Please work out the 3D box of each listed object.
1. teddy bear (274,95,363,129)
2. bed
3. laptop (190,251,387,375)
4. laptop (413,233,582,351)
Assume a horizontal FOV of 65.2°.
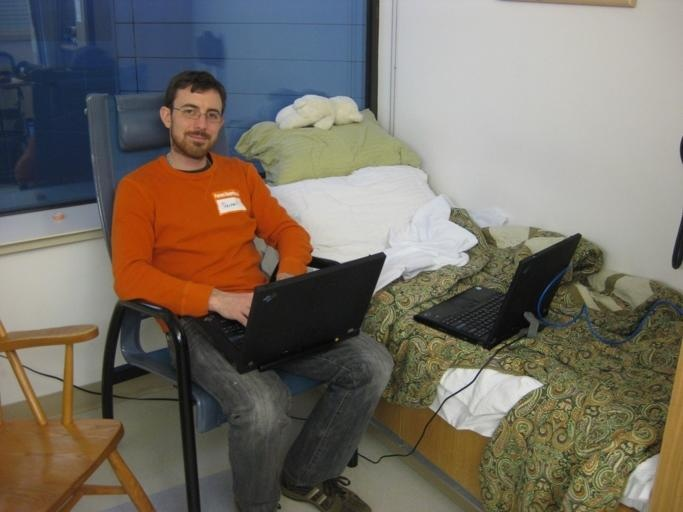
[{"bbox_3d":[-0.109,-0.777,2.903,0.319,0.125,0.249,-4,19,-10],"label":"teddy bear"},{"bbox_3d":[0.482,0.471,2.478,1.054,1.005,1.560,-27,44,-32],"label":"bed"},{"bbox_3d":[-0.198,0.085,1.835,0.499,0.375,0.422,-12,41,-33],"label":"laptop"},{"bbox_3d":[0.590,0.084,2.048,0.419,0.417,0.414,-16,29,-41],"label":"laptop"}]
